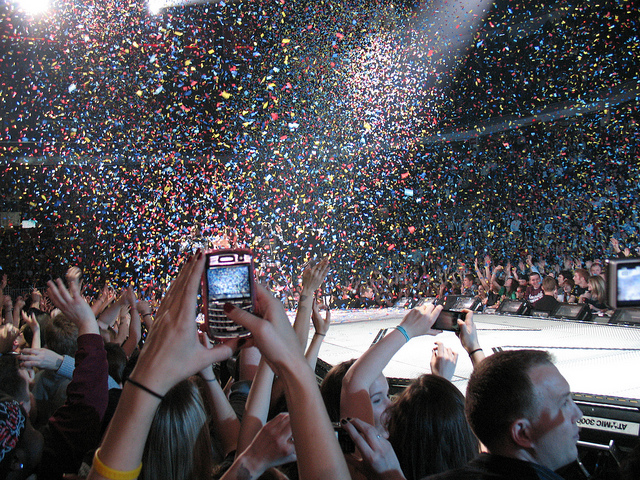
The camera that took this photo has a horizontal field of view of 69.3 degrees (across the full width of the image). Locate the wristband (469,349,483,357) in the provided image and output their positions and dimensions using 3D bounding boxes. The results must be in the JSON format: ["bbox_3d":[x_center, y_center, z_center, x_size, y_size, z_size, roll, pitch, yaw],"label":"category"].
[{"bbox_3d":[0.910,0.657,2.705,0.076,0.038,0.067,-1,-11,10],"label":"wristband"}]

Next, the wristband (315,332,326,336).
[{"bbox_3d":[0.006,0.605,2.981,0.073,0.019,0.056,5,-12,-22],"label":"wristband"}]

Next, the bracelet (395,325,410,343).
[{"bbox_3d":[0.454,0.516,2.538,0.020,0.072,0.076,-34,-40,6],"label":"bracelet"}]

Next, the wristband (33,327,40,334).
[{"bbox_3d":[-2.310,0.737,3.781,0.062,0.014,0.066,-30,15,48],"label":"wristband"}]

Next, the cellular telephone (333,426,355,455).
[{"bbox_3d":[0.107,0.892,2.067,0.092,0.121,0.135,0,-11,4],"label":"cellular telephone"}]

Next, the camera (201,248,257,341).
[{"bbox_3d":[-0.402,0.230,2.047,0.232,0.414,0.203,4,-10,-17],"label":"camera"}]

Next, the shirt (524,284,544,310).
[{"bbox_3d":[3.424,0.862,7.449,0.254,0.298,0.276,-3,-11,19],"label":"shirt"}]

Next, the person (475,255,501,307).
[{"bbox_3d":[3.177,0.961,8.687,0.398,0.965,0.263,1,-14,37],"label":"person"}]

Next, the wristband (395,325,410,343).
[{"bbox_3d":[0.455,0.506,2.532,0.074,0.019,0.068,49,-2,-38],"label":"wristband"}]

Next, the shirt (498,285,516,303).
[{"bbox_3d":[3.315,0.943,8.223,0.183,0.353,0.305,0,13,4],"label":"shirt"}]
